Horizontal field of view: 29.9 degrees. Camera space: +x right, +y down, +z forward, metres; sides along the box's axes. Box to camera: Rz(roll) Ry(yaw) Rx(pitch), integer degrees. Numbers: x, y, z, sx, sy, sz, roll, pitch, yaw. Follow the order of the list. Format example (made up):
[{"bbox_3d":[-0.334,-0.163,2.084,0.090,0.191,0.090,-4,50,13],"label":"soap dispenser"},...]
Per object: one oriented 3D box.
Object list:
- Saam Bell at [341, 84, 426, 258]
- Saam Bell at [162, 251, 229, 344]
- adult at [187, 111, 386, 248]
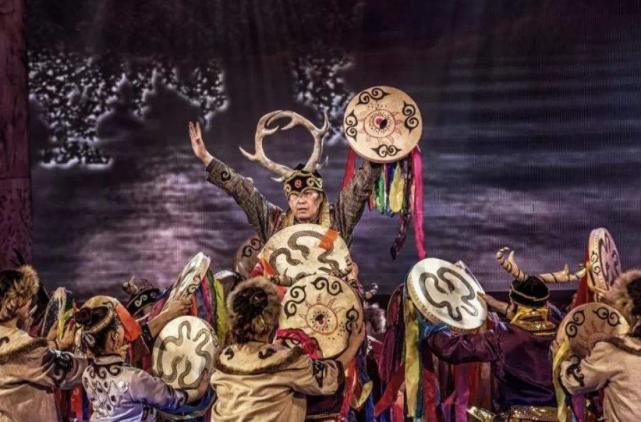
[{"bbox_3d":[0.668,-0.451,12.580,0.809,1.436,1.089,1,-30,7],"label":"Saam Bell"},{"bbox_3d":[-1.214,0.842,12.299,0.223,0.828,0.886,1,-55,-19],"label":"Saam Bell"},{"bbox_3d":[-0.332,-0.280,13.467,1.564,1.609,0.491,-6,-19,-7],"label":"adult"}]
